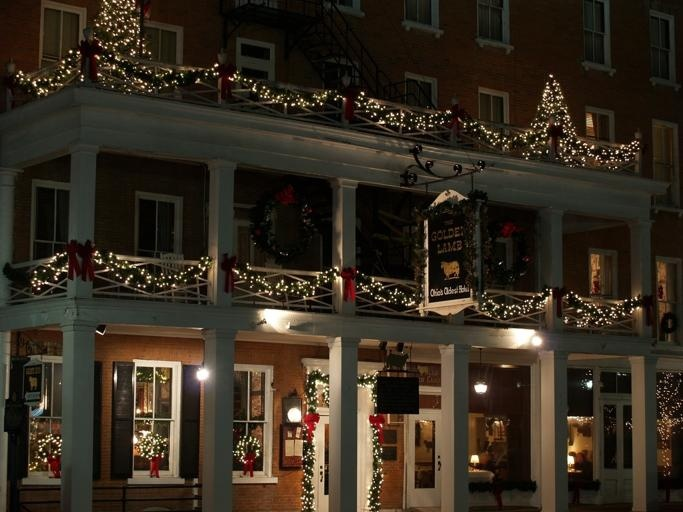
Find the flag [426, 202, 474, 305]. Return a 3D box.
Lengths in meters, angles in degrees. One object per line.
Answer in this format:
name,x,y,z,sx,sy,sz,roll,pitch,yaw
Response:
flag,2.466,-0.061,32.529,0.111,3.259,1.560,11,-16,-36

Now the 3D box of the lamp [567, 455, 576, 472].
lamp,6.207,5.486,39.205,0.232,0.482,0.070,8,-13,-38

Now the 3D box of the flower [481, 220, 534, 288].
flower,3.988,0.228,34.532,0.543,1.915,1.373,-12,24,-27

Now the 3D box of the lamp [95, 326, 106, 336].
lamp,-5.332,1.641,32.389,0.290,0.324,0.081,-2,-11,33

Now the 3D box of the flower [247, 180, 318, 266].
flower,-1.597,-0.844,34.381,1.458,1.981,0.524,4,-1,-32

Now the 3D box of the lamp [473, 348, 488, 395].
lamp,3.675,2.967,38.420,0.409,1.156,1.121,-1,-11,6

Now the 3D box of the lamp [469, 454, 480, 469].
lamp,3.543,5.374,38.801,0.168,0.364,0.488,-10,-15,43

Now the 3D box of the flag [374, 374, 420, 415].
flag,1.304,3.216,34.455,0.854,0.890,0.102,2,-6,-16
